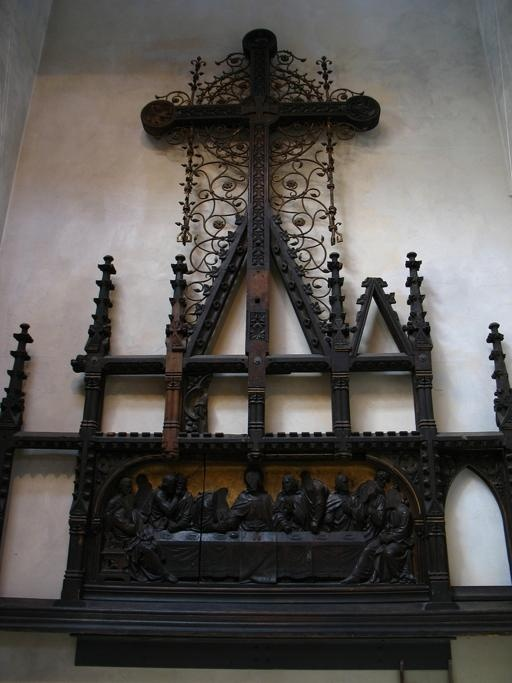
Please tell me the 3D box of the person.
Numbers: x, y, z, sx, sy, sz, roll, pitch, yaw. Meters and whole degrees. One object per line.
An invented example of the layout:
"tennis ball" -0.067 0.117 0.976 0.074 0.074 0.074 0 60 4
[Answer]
"person" 0.022 1.521 7.208 2.517 0.970 0.261 0 -23 4
